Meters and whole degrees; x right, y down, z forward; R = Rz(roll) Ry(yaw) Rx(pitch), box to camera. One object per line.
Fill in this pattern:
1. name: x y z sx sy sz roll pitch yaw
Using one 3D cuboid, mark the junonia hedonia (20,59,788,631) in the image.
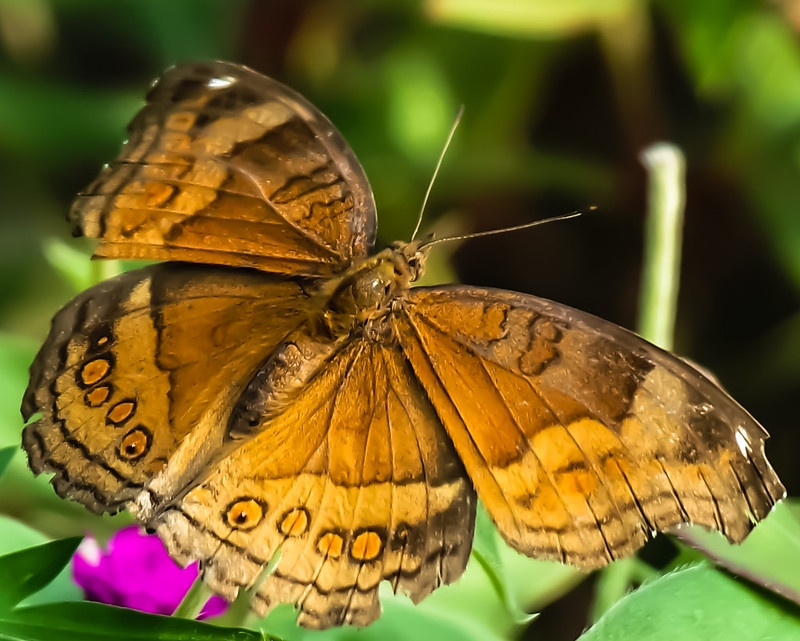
1. junonia hedonia: -0.051 0.094 0.841 0.676 0.207 0.453 38 77 9
